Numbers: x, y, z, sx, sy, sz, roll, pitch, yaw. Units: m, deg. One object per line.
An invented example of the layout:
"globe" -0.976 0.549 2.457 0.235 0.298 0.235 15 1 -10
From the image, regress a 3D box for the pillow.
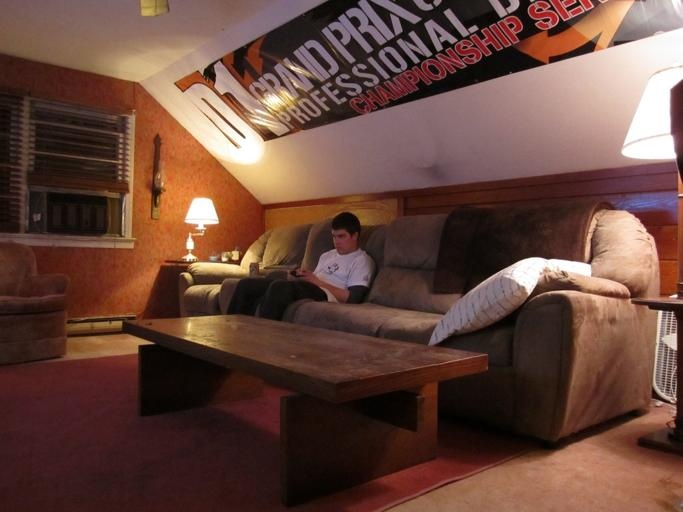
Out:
"pillow" 0.792 0.223 2.305 0.707 0.423 0.329 0 5 -13

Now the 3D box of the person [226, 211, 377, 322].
"person" -0.271 0.082 3.472 0.986 0.737 0.535 1 6 -38

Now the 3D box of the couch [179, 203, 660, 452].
"couch" 0.335 0.298 3.626 1.052 1.142 3.261 2 -2 -36

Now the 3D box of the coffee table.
"coffee table" -0.280 0.566 2.183 0.814 0.498 1.568 -3 6 -40
